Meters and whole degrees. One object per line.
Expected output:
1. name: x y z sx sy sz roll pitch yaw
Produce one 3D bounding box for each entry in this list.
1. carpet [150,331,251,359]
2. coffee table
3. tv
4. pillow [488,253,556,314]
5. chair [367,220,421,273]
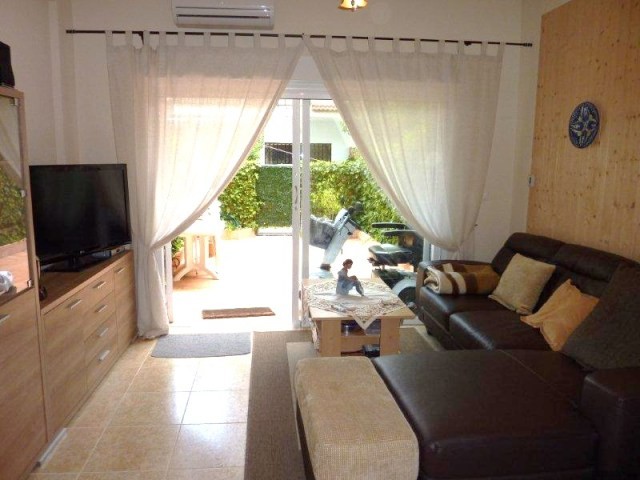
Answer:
1. carpet: -1.065 0.950 4.447 0.876 0.038 0.492 -1 12 -4
2. coffee table: 0.260 0.432 3.834 0.511 0.348 0.789 -4 15 -11
3. tv: -1.918 -0.208 3.926 0.282 0.779 0.838 3 12 14
4. pillow: 1.658 0.354 3.961 0.138 0.414 0.446 23 8 -19
5. chair: 0.783 0.065 5.010 0.491 0.587 0.439 -1 5 -7
